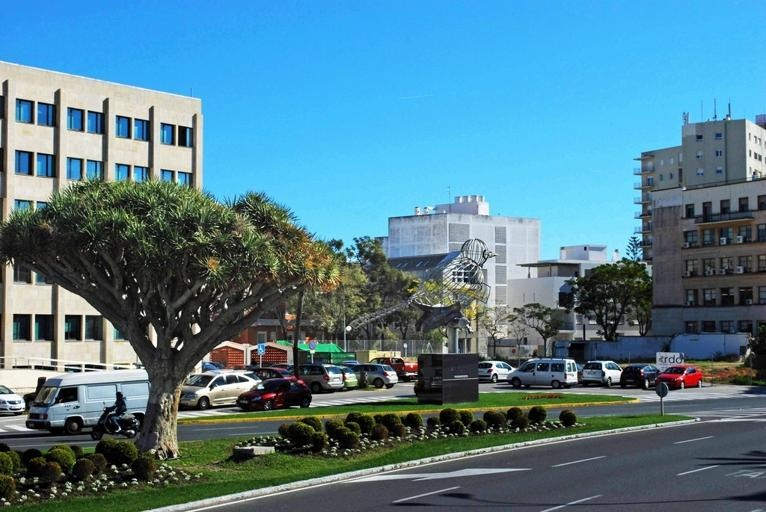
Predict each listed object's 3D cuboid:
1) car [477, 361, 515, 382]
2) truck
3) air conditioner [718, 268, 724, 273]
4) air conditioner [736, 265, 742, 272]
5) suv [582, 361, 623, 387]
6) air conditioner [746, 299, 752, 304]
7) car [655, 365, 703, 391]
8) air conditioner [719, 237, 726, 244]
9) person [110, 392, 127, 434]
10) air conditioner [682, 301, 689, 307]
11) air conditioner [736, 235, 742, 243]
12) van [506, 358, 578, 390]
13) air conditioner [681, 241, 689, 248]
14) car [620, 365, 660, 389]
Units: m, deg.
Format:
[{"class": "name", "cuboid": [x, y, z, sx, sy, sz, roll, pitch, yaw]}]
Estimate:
[{"class": "car", "cuboid": [9.206, 9.420, 100.096, 2.944, 1.449, 1.797, -3, 2, -34]}, {"class": "truck", "cuboid": [-16.574, 8.217, 70.160, 7.510, 3.734, 3.706, 4, -8, -28]}, {"class": "air conditioner", "cuboid": [36.333, 1.585, 130.842, 0.603, 0.655, 0.344, -3, -6, 26]}, {"class": "air conditioner", "cuboid": [37.716, 1.335, 129.022, 0.429, 0.657, 0.608, 6, -9, -35]}, {"class": "suv", "cuboid": [17.181, 9.126, 95.197, 1.699, 1.430, 2.872, -1, 0, 44]}, {"class": "air conditioner", "cuboid": [38.544, 4.779, 128.062, 0.628, 0.508, 0.373, -2, -3, 26]}, {"class": "car", "cuboid": [22.349, 9.219, 92.233, 1.735, 1.447, 3.942, -7, -11, 40]}, {"class": "air conditioner", "cuboid": [36.619, -1.661, 131.273, 0.610, 0.627, 0.825, -2, -1, -3]}, {"class": "person", "cuboid": [-14.246, 8.309, 64.862, 0.824, 2.046, 0.863, -1, -9, -5]}, {"class": "air conditioner", "cuboid": [33.393, 5.215, 134.518, 0.449, 0.537, 0.470, 2, -7, -4]}, {"class": "air conditioner", "cuboid": [37.897, -1.788, 129.535, 0.530, 0.806, 0.769, 4, -8, -26]}, {"class": "van", "cuboid": [12.416, 9.035, 93.303, 3.856, 1.967, 2.434, 1, -3, 20]}, {"class": "air conditioner", "cuboid": [33.531, -1.294, 135.107, 0.488, 0.743, 0.692, 8, -10, -44]}, {"class": "car", "cuboid": [20.255, 9.351, 95.134, 1.400, 1.118, 3.067, 0, 0, 32]}]
